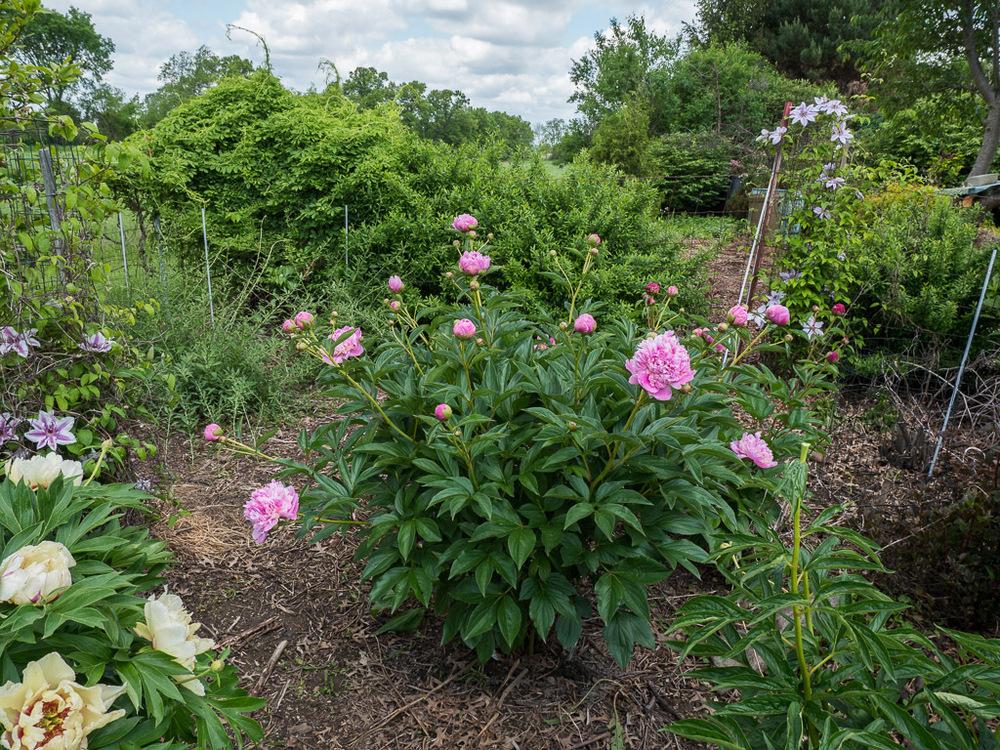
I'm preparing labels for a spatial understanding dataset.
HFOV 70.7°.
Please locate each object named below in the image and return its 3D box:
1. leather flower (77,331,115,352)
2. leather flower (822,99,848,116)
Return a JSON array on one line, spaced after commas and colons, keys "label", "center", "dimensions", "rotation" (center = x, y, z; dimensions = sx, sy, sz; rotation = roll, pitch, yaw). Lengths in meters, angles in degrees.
[{"label": "leather flower", "center": [-2.151, -0.173, 3.772], "dimensions": [0.122, 0.050, 0.111], "rotation": [6, 48, -2]}, {"label": "leather flower", "center": [2.597, -2.055, 5.517], "dimensions": [0.156, 0.040, 0.157], "rotation": [-2, 36, -2]}]
